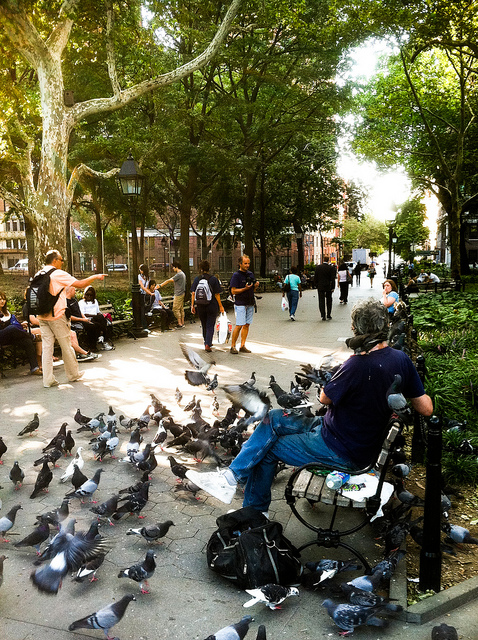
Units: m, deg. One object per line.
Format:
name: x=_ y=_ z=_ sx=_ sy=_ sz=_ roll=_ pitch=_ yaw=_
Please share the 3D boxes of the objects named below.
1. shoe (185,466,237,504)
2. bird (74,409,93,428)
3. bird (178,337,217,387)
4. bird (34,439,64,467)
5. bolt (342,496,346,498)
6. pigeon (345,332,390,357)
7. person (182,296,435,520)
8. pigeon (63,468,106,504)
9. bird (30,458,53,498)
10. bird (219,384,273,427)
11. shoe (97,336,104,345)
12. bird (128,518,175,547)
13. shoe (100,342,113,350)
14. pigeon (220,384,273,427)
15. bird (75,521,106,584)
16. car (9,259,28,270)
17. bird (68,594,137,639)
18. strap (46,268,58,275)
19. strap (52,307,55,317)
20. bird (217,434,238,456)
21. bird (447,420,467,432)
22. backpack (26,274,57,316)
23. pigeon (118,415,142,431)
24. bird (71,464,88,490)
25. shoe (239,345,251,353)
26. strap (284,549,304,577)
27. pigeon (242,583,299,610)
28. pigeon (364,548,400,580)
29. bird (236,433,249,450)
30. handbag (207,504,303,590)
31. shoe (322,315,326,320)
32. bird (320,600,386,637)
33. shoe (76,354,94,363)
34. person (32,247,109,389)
shoe: x=-0.200 y=1.138 z=3.576 sx=0.337 sy=0.204 sz=0.148 roll=-1 pitch=3 yaw=26
bird: x=-1.840 y=1.135 z=6.071 sx=0.129 sy=0.149 sz=0.229 roll=-6 pitch=-14 yaw=19
bird: x=-0.566 y=0.582 z=6.826 sx=0.625 sy=0.621 sz=0.575 roll=2 pitch=10 yaw=-13
bird: x=-1.817 y=1.268 z=4.941 sx=0.350 sy=0.248 sz=0.112 roll=-7 pitch=14 yaw=-38
bolt: x=0.637 y=1.078 z=3.157 sx=0.029 sy=0.010 sz=0.009 roll=0 pitch=4 yaw=40
pigeon: x=0.770 y=0.155 z=3.150 sx=0.227 sy=0.149 sz=0.243 roll=-1 pitch=3 yaw=12
person: x=0.450 y=0.629 z=3.501 sx=1.706 sy=1.475 sz=0.586 roll=3 pitch=-2 yaw=18
pigeon: x=-1.211 y=1.316 z=4.197 sx=0.401 sy=0.272 sz=0.162 roll=1 pitch=11 yaw=-42
bird: x=-1.639 y=1.343 z=4.327 sx=0.091 sy=0.181 sz=0.294 roll=-3 pitch=19 yaw=16
bird: x=0.078 y=0.527 z=3.381 sx=0.313 sy=0.249 sz=0.440 roll=-2 pitch=6 yaw=22
shoe: x=-3.090 y=0.451 z=11.586 sx=0.176 sy=0.218 sz=0.354 roll=2 pitch=-4 yaw=-7
bird: x=-0.610 y=1.437 z=3.535 sx=0.282 sy=0.192 sz=0.253 roll=-3 pitch=3 yaw=-13
shoe: x=-3.048 y=0.597 z=11.773 sx=0.335 sy=0.194 sz=0.139 roll=3 pitch=8 yaw=3
pigeon: x=0.054 y=0.566 z=3.402 sx=0.292 sy=0.305 sz=0.258 roll=-2 pitch=3 yaw=2
bird: x=-0.892 y=1.412 z=3.119 sx=0.117 sy=0.277 sz=0.204 roll=31 pitch=41 yaw=31
car: x=-26.187 y=-6.635 z=62.392 sx=1.287 sy=1.319 sz=3.983 roll=-3 pitch=3 yaw=-26
bird: x=-0.690 y=1.515 z=2.632 sx=0.286 sy=0.158 sz=0.205 roll=-9 pitch=12 yaw=-44
strap: x=-2.935 y=-0.767 z=8.159 sx=0.060 sy=0.104 sz=0.165 roll=-1 pitch=3 yaw=16
strap: x=-2.936 y=-0.118 z=8.220 sx=0.031 sy=0.140 sz=0.036 roll=-4 pitch=4 yaw=-29
bird: x=-0.098 y=1.225 z=5.175 sx=0.140 sy=0.203 sz=0.275 roll=-6 pitch=-20 yaw=26
bird: x=2.247 y=1.094 z=5.319 sx=0.172 sy=0.141 sz=0.131 roll=2 pitch=-7 yaw=-6
backpack: x=-3.121 y=-0.425 z=8.226 sx=0.519 sy=0.703 sz=0.434 roll=2 pitch=1 yaw=29
pigeon: x=-1.267 y=1.213 z=6.044 sx=0.216 sy=0.182 sz=0.342 roll=-3 pitch=3 yaw=-21
bird: x=-1.342 y=1.317 z=4.333 sx=0.090 sy=0.125 sz=0.193 roll=-9 pitch=-36 yaw=-28
shoe: x=0.114 y=0.615 z=11.144 sx=0.301 sy=0.153 sz=0.237 roll=-1 pitch=3 yaw=13
strap: x=0.330 y=1.397 z=2.980 sx=0.149 sy=0.054 sz=0.109 roll=28 pitch=-10 yaw=36
pigeon: x=0.157 y=1.456 z=2.736 sx=0.293 sy=0.117 sz=0.127 roll=21 pitch=-19 yaw=-9
pigeon: x=0.827 y=1.415 z=2.995 sx=0.076 sy=0.207 sz=0.138 roll=14 pitch=-27 yaw=42
bird: x=0.029 y=1.186 z=5.136 sx=0.169 sy=0.169 sz=0.197 roll=-1 pitch=-4 yaw=4
handbag: x=0.078 y=1.334 z=3.144 sx=0.490 sy=0.255 sz=0.620 roll=-21 pitch=11 yaw=-24
shoe: x=2.774 y=-0.074 z=16.963 sx=0.126 sy=0.118 sz=0.125 roll=9 pitch=16 yaw=18
bird: x=0.569 y=1.466 z=2.550 sx=0.298 sy=0.142 sz=0.088 roll=-2 pitch=3 yaw=8
shoe: x=-3.065 y=0.761 z=10.330 sx=0.337 sy=0.150 sz=0.242 roll=-2 pitch=3 yaw=-13
person: x=-2.830 y=-0.024 z=8.574 sx=1.308 sy=2.109 sz=0.897 roll=0 pitch=3 yaw=-4
